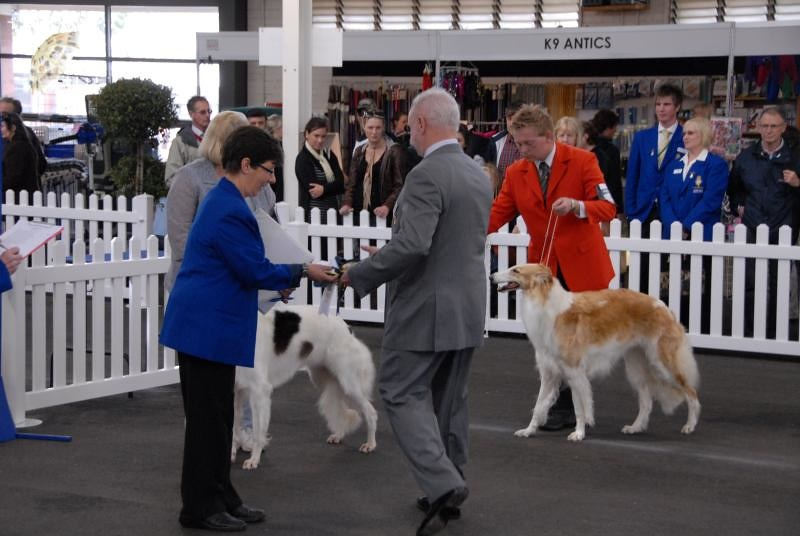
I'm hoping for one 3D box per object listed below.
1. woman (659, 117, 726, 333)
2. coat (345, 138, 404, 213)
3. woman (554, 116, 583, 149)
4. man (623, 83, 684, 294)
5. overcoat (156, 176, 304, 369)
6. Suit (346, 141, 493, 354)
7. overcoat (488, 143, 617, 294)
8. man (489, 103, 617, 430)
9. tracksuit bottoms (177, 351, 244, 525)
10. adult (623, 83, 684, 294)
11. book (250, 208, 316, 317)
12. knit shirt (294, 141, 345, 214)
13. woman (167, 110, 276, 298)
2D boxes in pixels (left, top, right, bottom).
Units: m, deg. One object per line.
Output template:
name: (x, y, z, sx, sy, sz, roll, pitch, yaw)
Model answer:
woman: (3.692, -0.525, 13.126, 0.578, 2.807, 0.736, -14, 25, -15)
coat: (-0.358, -1.176, 13.764, 0.686, 1.132, 0.540, 5, -8, 9)
woman: (2.065, -1.643, 12.619, 0.336, 0.641, 0.429, -2, 1, 12)
man: (3.306, -0.736, 13.423, 0.745, 3.057, 0.619, 9, 14, 29)
overcoat: (-1.506, 0.028, 9.059, 1.038, 1.514, 0.932, 3, 10, -36)
Suit: (0.233, -0.170, 8.850, 1.046, 1.772, 0.454, 1, 6, 4)
overcoat: (1.574, -0.458, 10.765, 1.265, 1.737, 0.992, -1, 18, 38)
man: (1.398, 0.054, 10.490, 1.420, 3.415, 1.243, -7, 12, -16)
tracksuit bottoms: (-1.630, 1.478, 8.885, 0.391, 1.349, 0.374, -11, -11, 17)
adult: (3.298, -0.741, 13.387, 0.759, 3.117, 0.640, 9, 10, 35)
book: (-1.114, -0.036, 9.207, 0.200, 0.789, 0.737, -6, 31, -41)
knit shirt: (-1.082, -1.129, 14.018, 0.504, 1.100, 0.648, 13, 20, 32)
woman: (-2.005, -0.589, 10.210, 0.720, 2.275, 0.858, 8, 44, -19)
